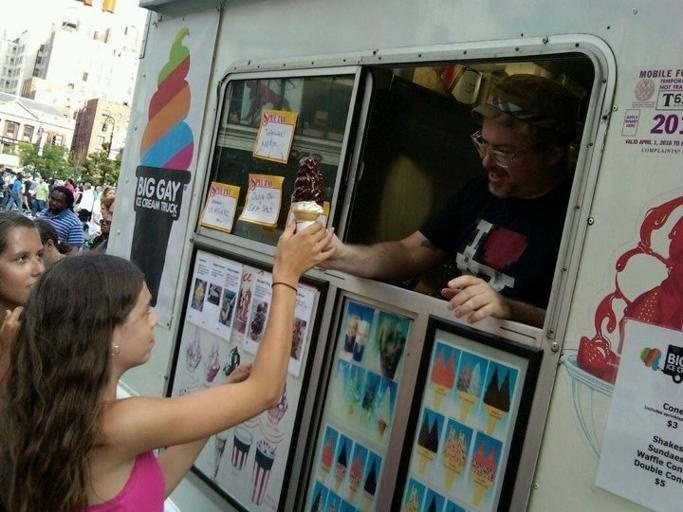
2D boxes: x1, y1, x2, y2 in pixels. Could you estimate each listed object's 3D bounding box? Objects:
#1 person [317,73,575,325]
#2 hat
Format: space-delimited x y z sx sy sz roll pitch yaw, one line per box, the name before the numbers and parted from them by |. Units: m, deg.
person | 0.639 -0.201 2.242 0.739 1.473 1.016 -4 8 -33
hat | 0.927 -0.676 2.369 0.419 0.249 0.335 19 9 0
